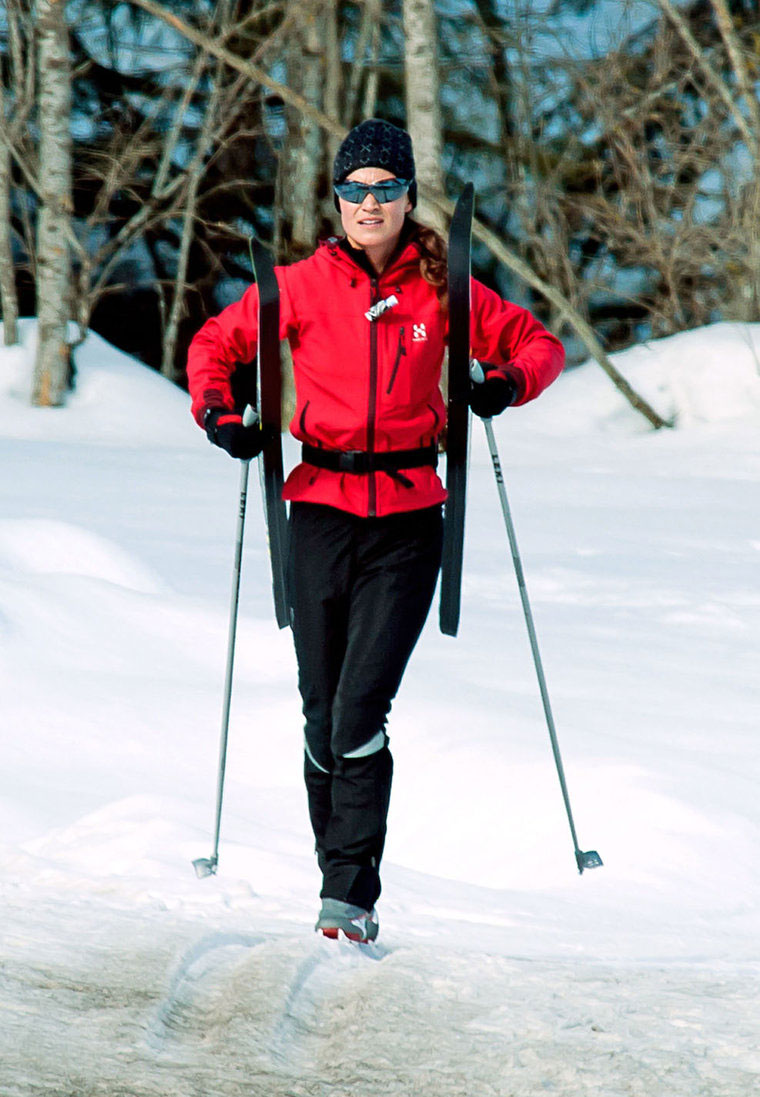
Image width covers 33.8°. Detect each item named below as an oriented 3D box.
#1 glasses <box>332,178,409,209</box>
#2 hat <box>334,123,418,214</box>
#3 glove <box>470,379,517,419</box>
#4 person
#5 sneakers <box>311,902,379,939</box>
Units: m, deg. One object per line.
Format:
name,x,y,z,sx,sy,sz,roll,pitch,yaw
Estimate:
glasses,-0.018,-0.912,3.214,0.136,0.040,0.123,-1,-1,2
hat,-0.007,-1.037,3.354,0.217,0.187,0.224,3,20,-1
glove,0.299,-0.398,3.360,0.133,0.099,0.110,-4,-3,36
person,-0.065,-0.047,3.354,0.392,2.180,0.340,6,4,34
sneakers,-0.085,0.969,3.273,0.086,0.084,0.181,-1,-27,25
